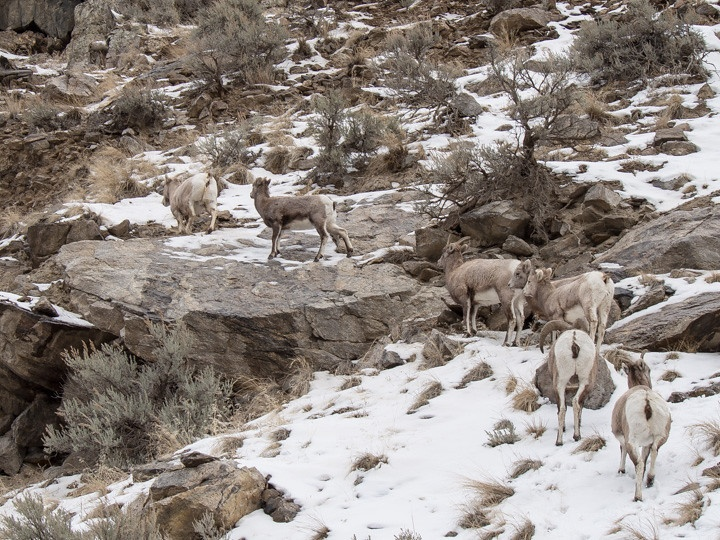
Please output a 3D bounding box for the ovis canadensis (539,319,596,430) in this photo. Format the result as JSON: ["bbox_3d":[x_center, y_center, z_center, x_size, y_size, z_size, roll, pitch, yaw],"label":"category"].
[{"bbox_3d":[3.134,1.688,11.916,0.691,1.620,0.504,-5,8,13],"label":"ovis canadensis"}]

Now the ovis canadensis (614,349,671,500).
[{"bbox_3d":[3.860,2.343,11.226,0.599,1.456,0.574,-9,8,-17],"label":"ovis canadensis"}]
